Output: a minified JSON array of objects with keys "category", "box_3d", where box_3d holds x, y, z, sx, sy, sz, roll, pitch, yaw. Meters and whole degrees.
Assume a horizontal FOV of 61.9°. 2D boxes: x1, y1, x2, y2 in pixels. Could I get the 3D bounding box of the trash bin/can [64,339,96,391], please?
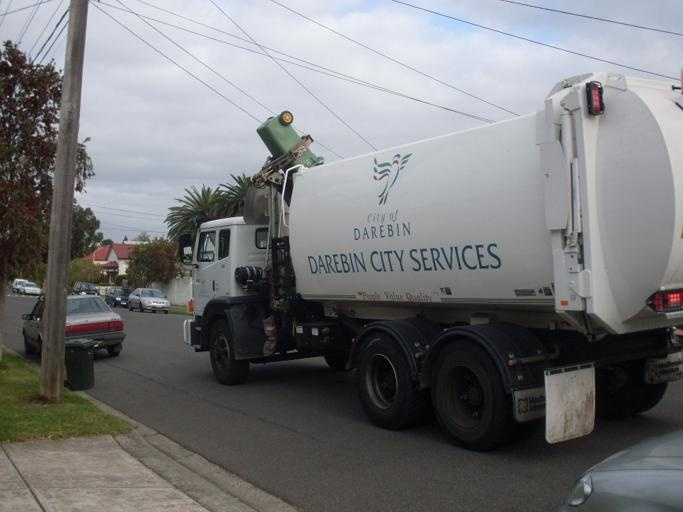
[{"category":"trash bin/can","box_3d":[-4.731,1.956,10.278,0.579,0.830,0.625,-1,-5,-30]}]
